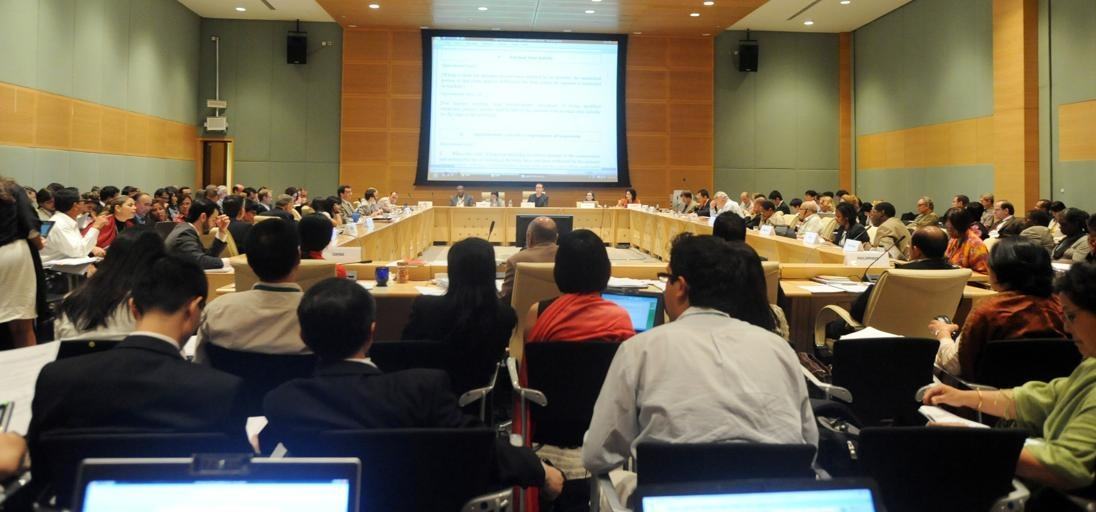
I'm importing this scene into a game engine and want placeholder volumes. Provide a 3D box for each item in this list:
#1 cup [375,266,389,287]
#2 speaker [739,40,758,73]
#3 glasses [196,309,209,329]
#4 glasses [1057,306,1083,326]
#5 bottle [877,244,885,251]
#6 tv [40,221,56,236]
[{"bbox_3d":[-2.243,0.284,9.469,0.173,0.249,0.172,0,8,0],"label":"cup"},{"bbox_3d":[5.876,-5.798,20.345,0.662,0.897,0.371,1,8,4],"label":"speaker"},{"bbox_3d":[-3.614,0.677,7.339,0.079,0.217,0.233,-5,10,-34],"label":"glasses"},{"bbox_3d":[5.142,0.593,6.836,0.170,0.161,0.208,0,8,-45],"label":"glasses"},{"bbox_3d":[5.577,-0.120,11.665,0.112,0.053,0.059,-3,3,-5],"label":"bottle"},{"bbox_3d":[-7.586,-0.402,10.599,0.234,0.192,0.058,2,-27,31],"label":"tv"}]
